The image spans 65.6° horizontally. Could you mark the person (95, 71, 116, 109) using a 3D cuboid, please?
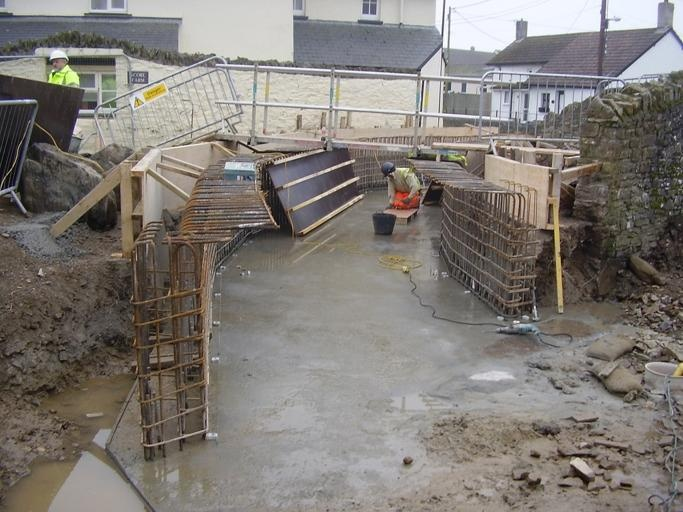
[{"bbox_3d":[-7.955,-5.745,17.954,0.666,0.905,0.389,-2,15,-8],"label":"person"}]

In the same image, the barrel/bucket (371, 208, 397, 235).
[{"bbox_3d":[0.993,-0.801,12.370,0.554,0.537,0.509,1,2,0],"label":"barrel/bucket"}]

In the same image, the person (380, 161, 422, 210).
[{"bbox_3d":[1.557,-1.897,13.904,0.924,1.322,0.859,-3,21,24],"label":"person"}]
